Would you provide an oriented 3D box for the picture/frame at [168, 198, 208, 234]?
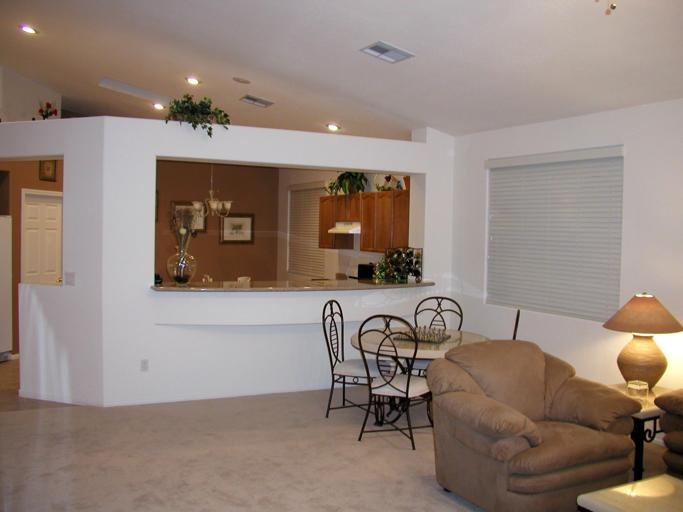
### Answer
[{"bbox_3d":[-1.764,-0.447,5.815,0.402,0.423,0.042,1,-3,-45],"label":"picture/frame"}]

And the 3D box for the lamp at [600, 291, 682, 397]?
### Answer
[{"bbox_3d":[2.658,0.748,4.652,0.716,0.978,0.744,0,1,-1],"label":"lamp"}]

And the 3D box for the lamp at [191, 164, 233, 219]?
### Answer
[{"bbox_3d":[-1.464,-0.764,6.174,0.569,0.817,0.498,0,-1,-2],"label":"lamp"}]

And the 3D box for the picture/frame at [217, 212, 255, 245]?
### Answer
[{"bbox_3d":[-1.286,-0.321,6.140,0.389,0.380,0.026,0,-7,-35],"label":"picture/frame"}]

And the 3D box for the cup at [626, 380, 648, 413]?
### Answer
[{"bbox_3d":[2.343,1.114,4.053,0.159,0.272,0.157,-2,7,0],"label":"cup"}]

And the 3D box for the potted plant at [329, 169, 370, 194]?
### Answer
[{"bbox_3d":[0.098,-1.076,7.609,0.412,0.289,0.347,0,3,16],"label":"potted plant"}]

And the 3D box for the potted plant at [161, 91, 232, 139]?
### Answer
[{"bbox_3d":[-1.556,-1.513,5.553,0.671,0.441,0.327,-2,7,-20],"label":"potted plant"}]
